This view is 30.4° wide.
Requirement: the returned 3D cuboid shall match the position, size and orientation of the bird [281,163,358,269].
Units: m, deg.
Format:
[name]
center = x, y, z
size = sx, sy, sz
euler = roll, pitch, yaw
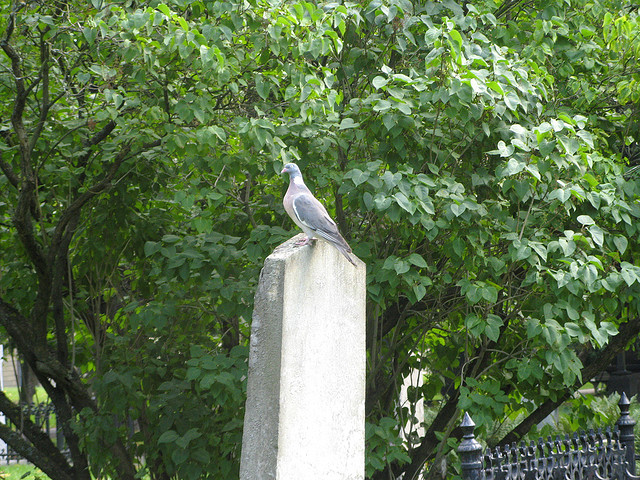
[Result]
[bird]
center = -0.004, -0.267, 11.856
size = 0.842, 0.942, 0.321
euler = 9, 12, 4
